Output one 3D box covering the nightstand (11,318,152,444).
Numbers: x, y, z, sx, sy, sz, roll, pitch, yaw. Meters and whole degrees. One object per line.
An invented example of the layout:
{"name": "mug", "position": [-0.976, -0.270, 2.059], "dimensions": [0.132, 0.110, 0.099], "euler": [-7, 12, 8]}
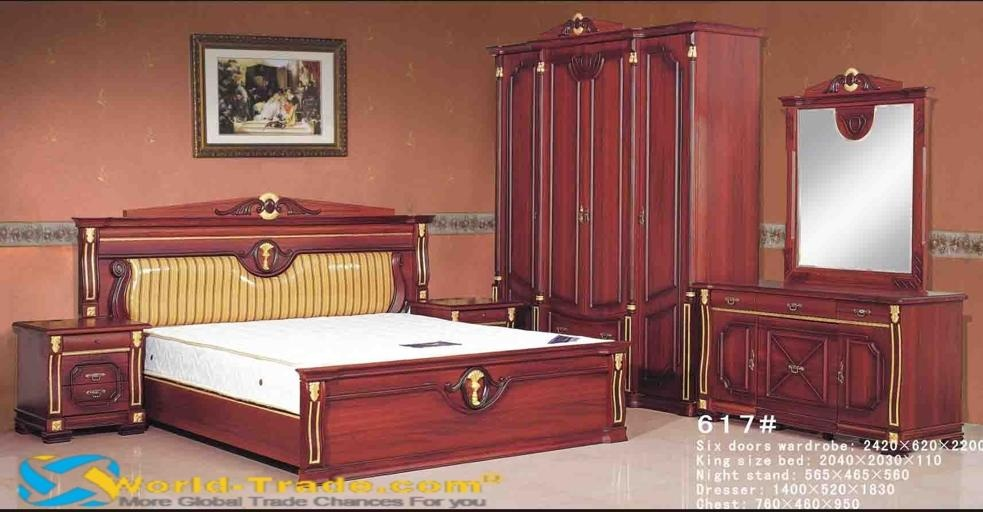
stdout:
{"name": "nightstand", "position": [-4.015, 1.258, 7.381], "dimensions": [0.866, 0.815, 0.978], "euler": [-8, -7, 35]}
